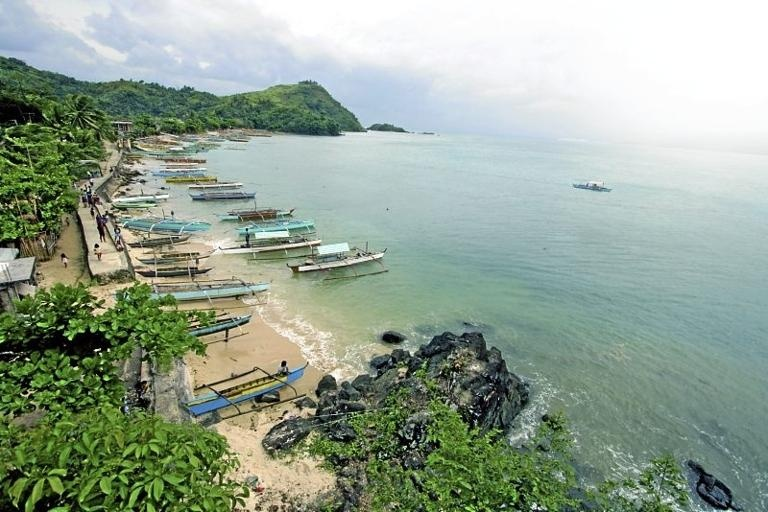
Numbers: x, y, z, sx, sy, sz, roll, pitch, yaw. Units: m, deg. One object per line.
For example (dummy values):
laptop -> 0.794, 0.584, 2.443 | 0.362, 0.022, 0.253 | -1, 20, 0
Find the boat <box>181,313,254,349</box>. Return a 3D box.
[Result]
boat -> -13.333, 5.287, 37.642 | 4.339, 0.611, 4.245 | -9, 20, -42

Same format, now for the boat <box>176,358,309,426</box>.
boat -> -10.042, 9.244, 31.956 | 5.269, 0.908, 3.724 | -9, 13, -37

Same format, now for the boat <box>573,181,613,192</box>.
boat -> 45.578, -15.247, 102.132 | 3.498, 1.939, 7.586 | -5, 22, -30
